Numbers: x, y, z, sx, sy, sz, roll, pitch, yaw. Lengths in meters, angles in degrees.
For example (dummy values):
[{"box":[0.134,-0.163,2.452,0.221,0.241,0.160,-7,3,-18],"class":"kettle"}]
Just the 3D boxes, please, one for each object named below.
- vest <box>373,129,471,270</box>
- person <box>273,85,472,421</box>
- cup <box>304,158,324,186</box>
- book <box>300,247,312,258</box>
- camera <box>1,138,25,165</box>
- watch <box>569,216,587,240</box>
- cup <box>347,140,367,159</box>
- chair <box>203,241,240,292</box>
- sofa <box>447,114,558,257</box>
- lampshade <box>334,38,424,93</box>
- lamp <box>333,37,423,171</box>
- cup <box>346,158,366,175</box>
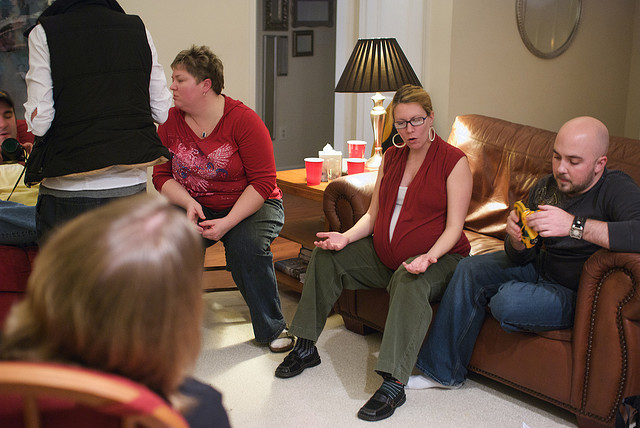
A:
[{"box":[0.451,-0.076,2.402,0.430,0.600,0.351,11,13,36],"class":"vest"},{"box":[0.125,0.024,3.002,1.356,2.054,1.154,-5,11,-37],"class":"person"},{"box":[-0.043,-0.273,3.037,0.098,0.173,0.135,1,7,-3],"class":"cup"},{"box":[-0.094,0.248,3.076,0.060,0.014,0.062,20,14,38],"class":"book"},{"box":[-1.528,-0.315,2.382,0.090,0.128,0.153,-3,8,-32],"class":"camera"},{"box":[0.997,0.050,1.852,0.045,0.082,0.046,9,10,44],"class":"watch"},{"box":[0.246,-0.438,3.207,0.110,0.088,0.113,2,9,0],"class":"cup"},{"box":[-0.608,0.329,2.930,0.179,0.164,0.324,-6,11,-29],"class":"chair"},{"box":[0.932,-0.129,2.456,0.402,0.513,0.702,1,8,-25],"class":"sofa"},{"box":[0.341,-1.001,3.154,0.488,0.300,0.548,-13,25,-14],"class":"lampshade"},{"box":[0.383,-0.726,3.207,0.541,0.843,0.534,4,16,21],"class":"lamp"},{"box":[0.225,-0.303,3.003,0.095,0.073,0.097,1,9,0],"class":"cup"}]
